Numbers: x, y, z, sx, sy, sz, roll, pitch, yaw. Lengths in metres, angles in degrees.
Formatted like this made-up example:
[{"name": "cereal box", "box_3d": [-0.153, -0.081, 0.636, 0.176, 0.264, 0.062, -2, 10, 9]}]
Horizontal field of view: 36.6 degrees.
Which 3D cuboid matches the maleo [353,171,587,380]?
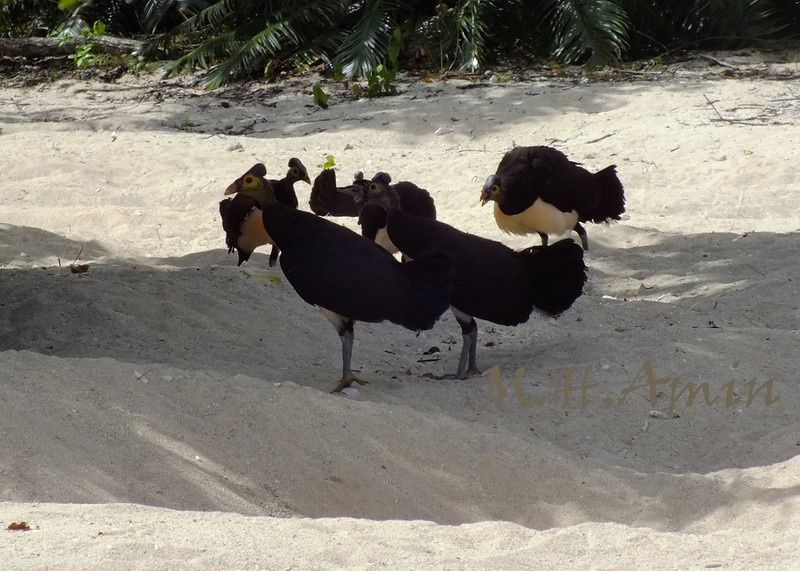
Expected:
[{"name": "maleo", "box_3d": [0.996, -0.126, 13.477, 3.449, 2.162, 1.119, 7, 14, 40]}]
